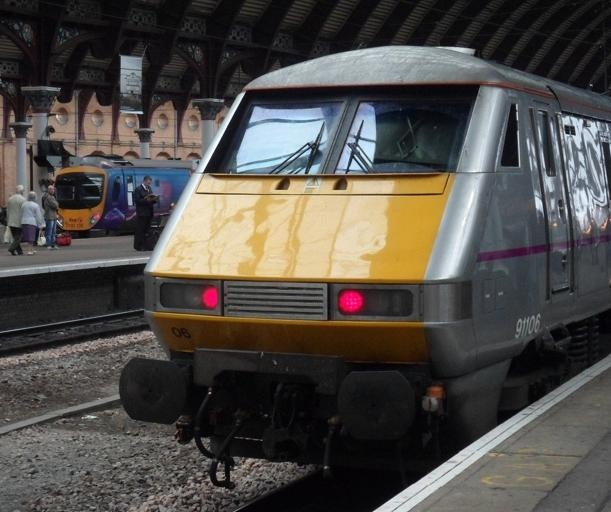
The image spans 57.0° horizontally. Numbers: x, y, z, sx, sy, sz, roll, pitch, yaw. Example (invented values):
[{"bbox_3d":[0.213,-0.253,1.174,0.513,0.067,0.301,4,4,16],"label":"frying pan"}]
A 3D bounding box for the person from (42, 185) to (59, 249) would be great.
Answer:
[{"bbox_3d":[-8.754,-1.399,19.254,0.409,2.211,1.470,-4,4,-25],"label":"person"}]

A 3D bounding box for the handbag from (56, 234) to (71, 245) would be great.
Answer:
[{"bbox_3d":[-8.709,-0.608,20.219,0.444,0.300,0.359,-1,1,26],"label":"handbag"}]

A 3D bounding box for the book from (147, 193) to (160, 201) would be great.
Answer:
[{"bbox_3d":[-4.633,-1.884,17.179,0.363,0.172,0.464,0,-1,4],"label":"book"}]

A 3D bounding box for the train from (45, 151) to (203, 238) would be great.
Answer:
[{"bbox_3d":[-7.745,-3.338,32.978,4.170,3.952,12.764,0,2,31],"label":"train"}]
